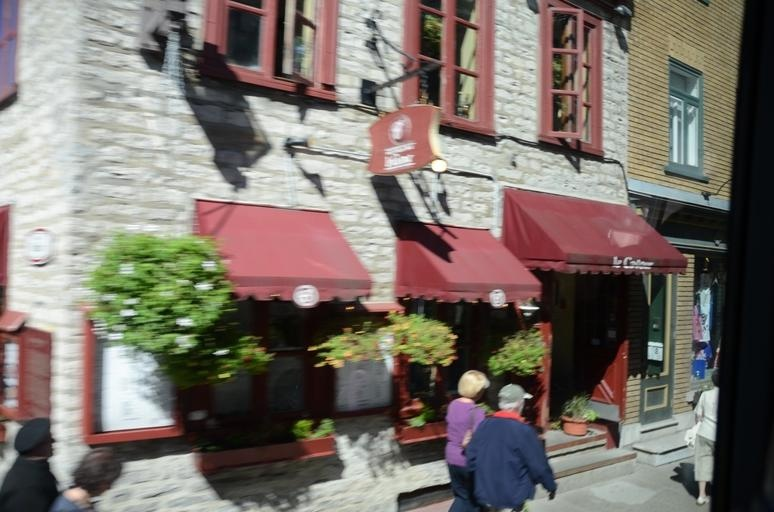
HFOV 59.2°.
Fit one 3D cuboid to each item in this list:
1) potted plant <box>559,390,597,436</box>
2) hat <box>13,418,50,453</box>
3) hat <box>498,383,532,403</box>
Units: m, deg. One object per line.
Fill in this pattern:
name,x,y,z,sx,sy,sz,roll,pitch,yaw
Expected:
potted plant,3.596,2.870,12.453,0.694,0.724,0.736,-3,-6,43
hat,-3.667,1.859,7.152,0.298,0.388,0.110,30,-26,15
hat,1.684,1.789,8.625,0.468,0.217,0.323,-7,2,-6
